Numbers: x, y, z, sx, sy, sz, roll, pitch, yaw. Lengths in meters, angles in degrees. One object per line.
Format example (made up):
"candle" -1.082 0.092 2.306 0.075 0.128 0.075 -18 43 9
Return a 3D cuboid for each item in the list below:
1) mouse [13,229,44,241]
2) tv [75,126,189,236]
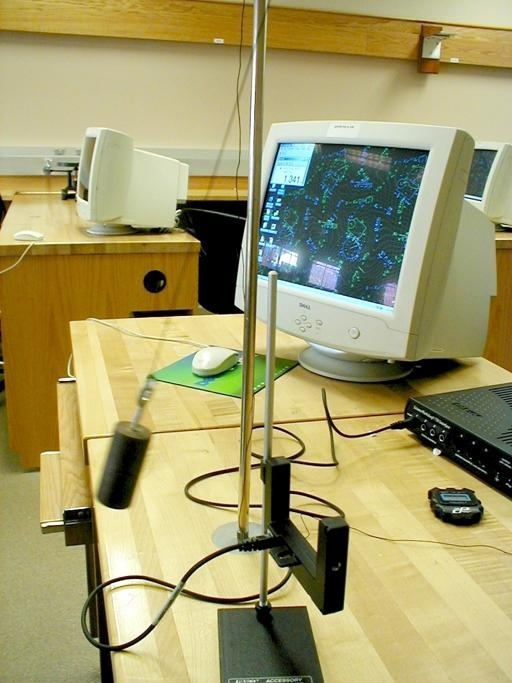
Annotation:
"mouse" -0.792 -0.359 1.927 0.097 0.029 0.101 1 16 -4
"tv" -0.501 -0.620 2.294 0.441 0.378 0.446 -5 23 -20
